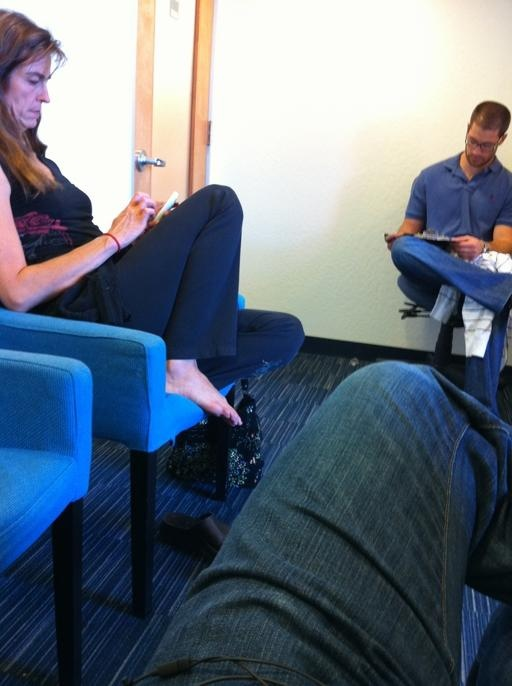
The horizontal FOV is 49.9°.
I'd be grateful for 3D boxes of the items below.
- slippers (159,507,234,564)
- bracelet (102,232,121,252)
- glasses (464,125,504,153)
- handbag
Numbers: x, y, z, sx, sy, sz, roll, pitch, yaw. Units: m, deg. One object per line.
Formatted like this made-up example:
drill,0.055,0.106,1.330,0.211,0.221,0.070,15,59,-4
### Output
slippers,-0.125,0.455,1.334,0.200,0.071,0.103,10,7,13
bracelet,-0.350,-0.247,1.326,0.055,0.041,0.032,15,18,38
glasses,1.007,-0.906,2.434,0.157,0.110,0.159,11,15,25
handbag,-0.124,0.284,1.706,0.272,0.276,0.245,2,-13,10
